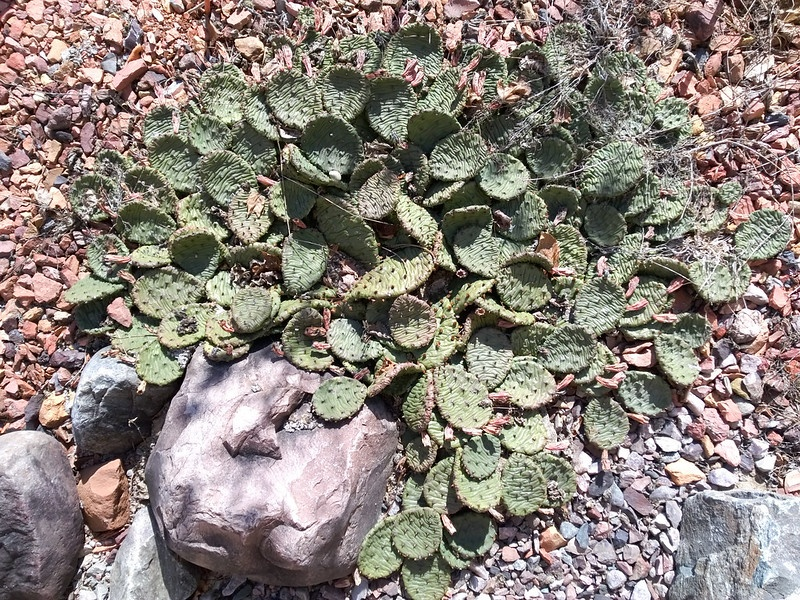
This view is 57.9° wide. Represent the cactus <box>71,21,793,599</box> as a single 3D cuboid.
[{"bbox_3d":[0.201,-0.218,4.385,3.964,1.176,3.000,-13,65,1],"label":"cactus"}]
